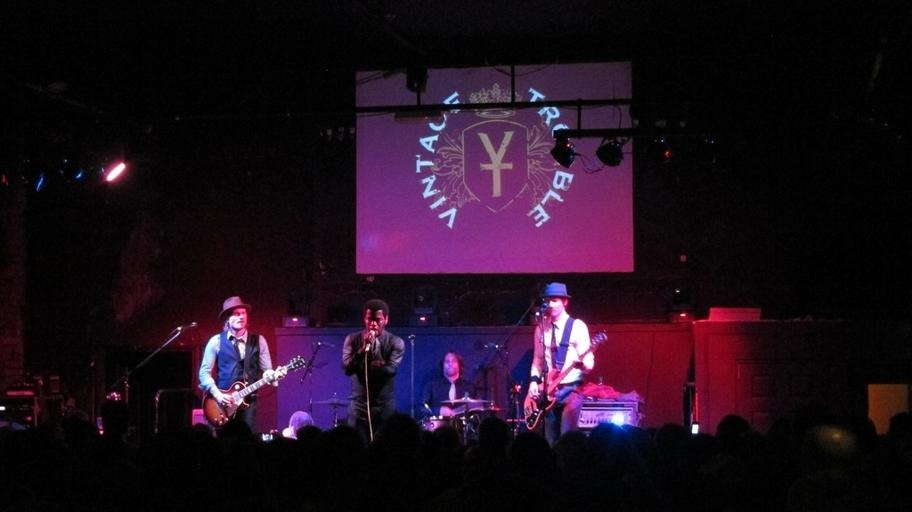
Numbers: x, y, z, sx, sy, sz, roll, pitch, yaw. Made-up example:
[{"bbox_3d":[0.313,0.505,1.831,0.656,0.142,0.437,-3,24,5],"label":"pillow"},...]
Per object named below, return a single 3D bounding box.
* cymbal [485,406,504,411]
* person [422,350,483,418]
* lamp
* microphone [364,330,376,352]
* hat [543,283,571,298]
[{"bbox_3d":[0.668,2.634,14.678,0.186,0.106,0.182,-1,-12,3],"label":"cymbal"},{"bbox_3d":[-0.126,2.564,15.163,1.200,1.588,0.907,3,-11,-5],"label":"person"},{"bbox_3d":[3.105,-2.082,15.199,2.816,1.050,0.571,1,0,2],"label":"lamp"},{"bbox_3d":[-1.272,1.248,12.651,0.112,0.335,0.138,2,-1,5],"label":"microphone"},{"bbox_3d":[1.656,0.583,14.143,0.316,0.152,0.404,1,-7,4],"label":"hat"}]
